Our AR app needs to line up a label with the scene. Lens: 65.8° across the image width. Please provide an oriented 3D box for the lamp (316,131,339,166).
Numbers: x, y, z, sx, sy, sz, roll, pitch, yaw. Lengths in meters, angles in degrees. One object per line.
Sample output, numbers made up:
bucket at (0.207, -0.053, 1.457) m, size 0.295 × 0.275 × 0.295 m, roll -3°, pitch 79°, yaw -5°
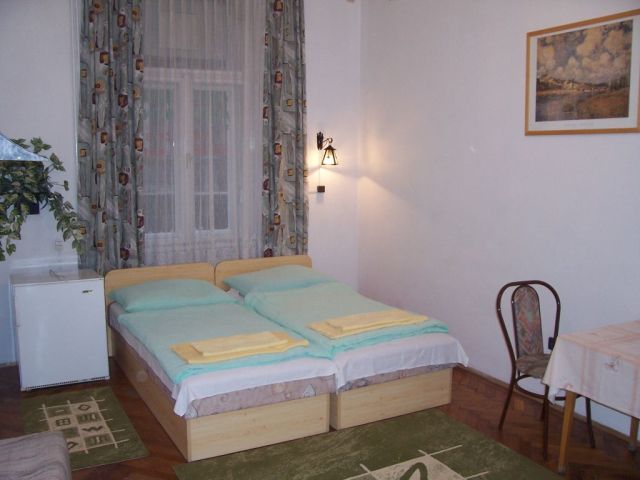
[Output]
lamp at (0.094, -1.085, 5.914) m, size 0.274 × 0.391 × 0.125 m, roll -2°, pitch 11°, yaw -11°

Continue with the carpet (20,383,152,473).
carpet at (-1.756, 1.415, 3.716) m, size 0.481 × 0.014 × 0.839 m, roll -2°, pitch 14°, yaw -30°

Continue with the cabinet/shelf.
cabinet/shelf at (-2.288, 0.755, 4.845) m, size 0.918 × 1.280 × 0.899 m, roll -3°, pitch 4°, yaw -28°
